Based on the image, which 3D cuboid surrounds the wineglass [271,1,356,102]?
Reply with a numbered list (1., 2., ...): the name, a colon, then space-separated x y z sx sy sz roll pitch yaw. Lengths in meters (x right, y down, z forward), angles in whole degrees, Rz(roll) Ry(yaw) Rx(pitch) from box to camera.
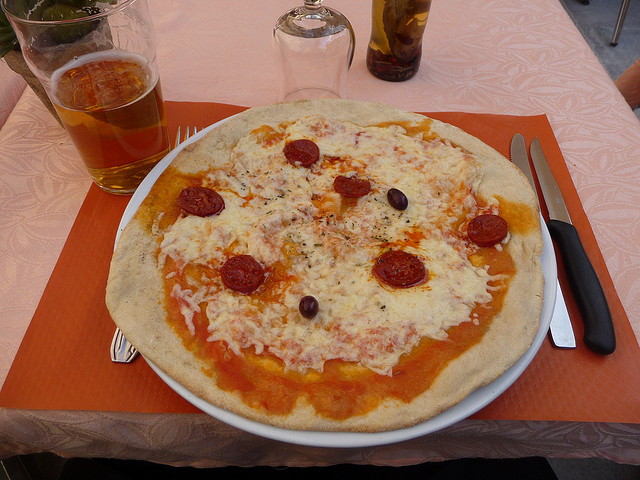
1. wineglass: -0.026 -0.797 2.336 0.348 0.313 0.351 -1 63 3
